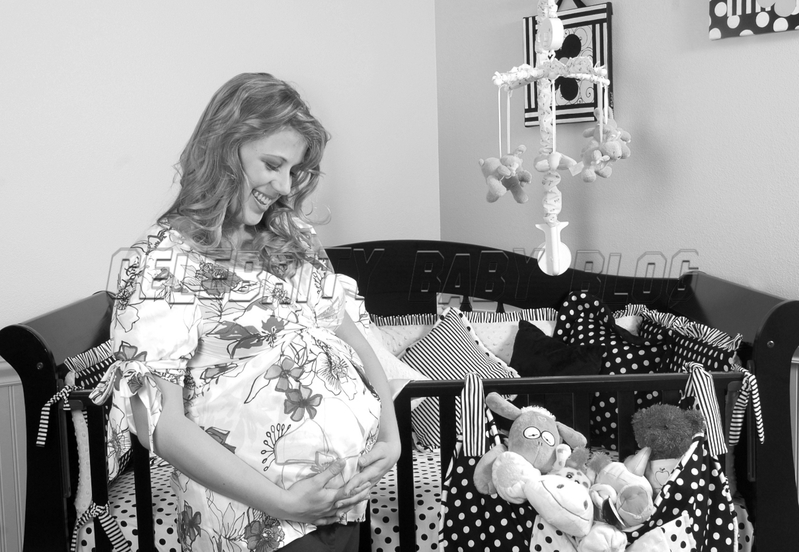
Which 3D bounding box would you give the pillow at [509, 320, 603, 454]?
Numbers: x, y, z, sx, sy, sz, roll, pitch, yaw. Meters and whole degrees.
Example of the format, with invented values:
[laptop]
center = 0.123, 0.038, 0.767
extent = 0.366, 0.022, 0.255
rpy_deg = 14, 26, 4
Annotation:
[pillow]
center = 0.508, 0.382, 2.982
extent = 0.105, 0.383, 0.331
rpy_deg = 11, -3, -37
